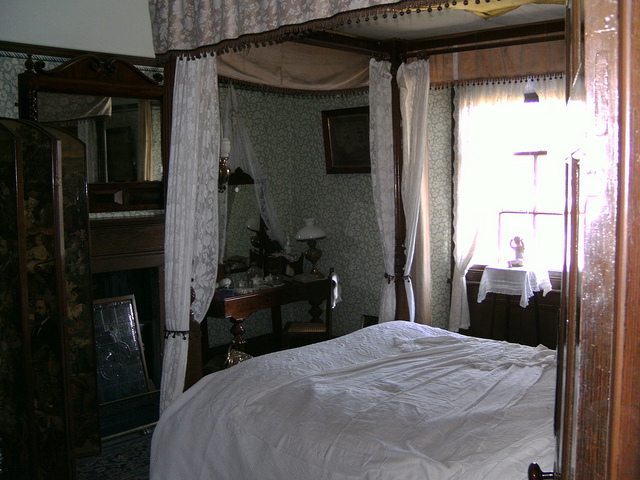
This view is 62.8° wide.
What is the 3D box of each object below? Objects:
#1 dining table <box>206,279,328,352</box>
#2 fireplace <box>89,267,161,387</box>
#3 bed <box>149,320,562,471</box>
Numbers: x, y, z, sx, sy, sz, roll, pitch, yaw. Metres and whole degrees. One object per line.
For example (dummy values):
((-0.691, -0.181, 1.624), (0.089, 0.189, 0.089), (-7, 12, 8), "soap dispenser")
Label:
((-0.404, 0.789, 5.340), (1.290, 0.670, 0.426), (-7, 4, -31), "dining table")
((-1.511, 0.725, 4.243), (0.448, 0.954, 0.251), (-3, 10, -43), "fireplace")
((0.137, 0.822, 2.771), (1.037, 0.305, 1.069), (-7, 5, 41), "bed")
